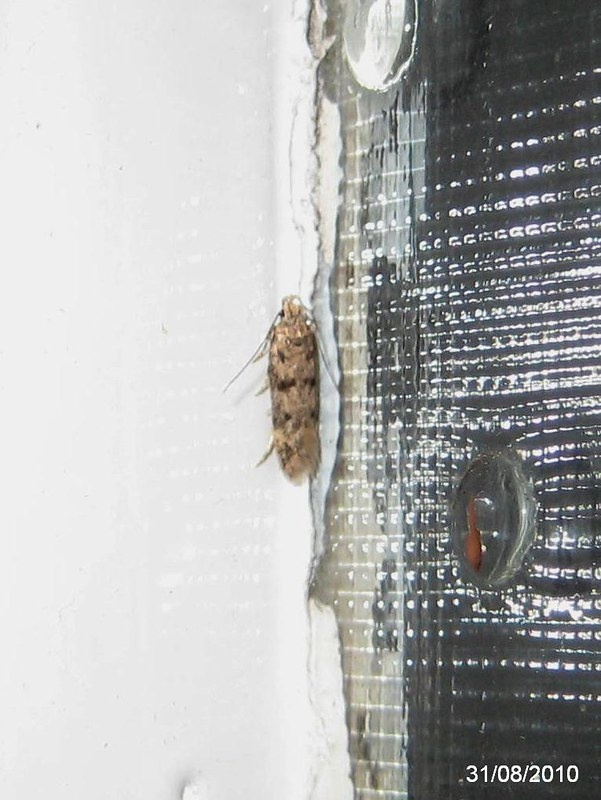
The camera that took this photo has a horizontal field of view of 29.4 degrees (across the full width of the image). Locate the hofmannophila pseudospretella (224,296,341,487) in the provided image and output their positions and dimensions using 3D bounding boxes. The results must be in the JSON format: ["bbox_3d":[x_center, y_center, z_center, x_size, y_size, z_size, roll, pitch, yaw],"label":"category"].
[{"bbox_3d":[-0.020,-0.032,1.879,0.160,0.080,0.390,-19,-53,-19],"label":"hofmannophila pseudospretella"}]
